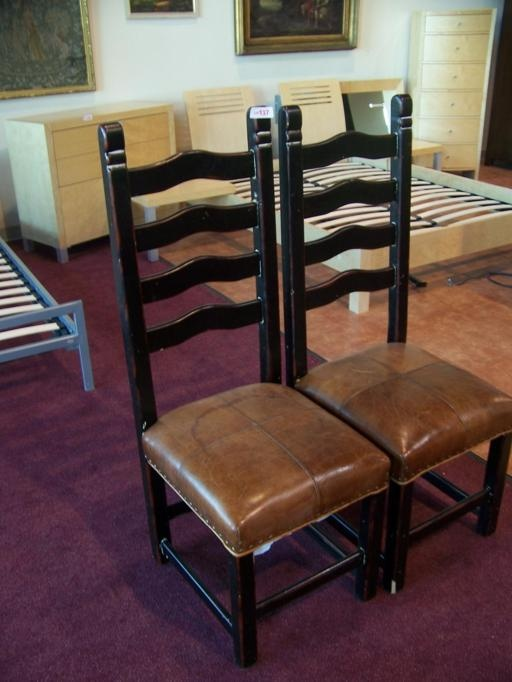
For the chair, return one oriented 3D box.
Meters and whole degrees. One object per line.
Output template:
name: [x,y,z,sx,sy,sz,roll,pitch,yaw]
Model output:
chair: [0.134,0.043,1.231,0.803,1.038,0.547,-16,27,-27]
